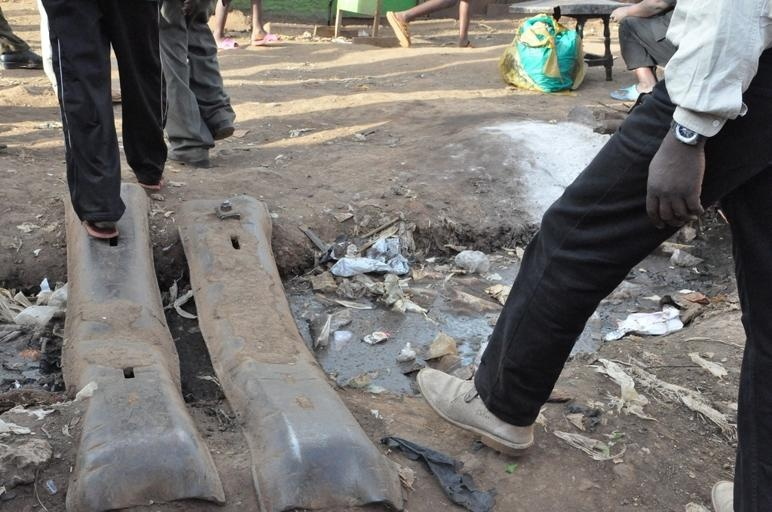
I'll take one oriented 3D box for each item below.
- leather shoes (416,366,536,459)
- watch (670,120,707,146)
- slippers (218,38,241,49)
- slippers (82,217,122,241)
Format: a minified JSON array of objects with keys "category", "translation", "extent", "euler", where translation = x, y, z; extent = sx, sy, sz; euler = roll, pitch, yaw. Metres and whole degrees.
[{"category":"leather shoes","translation":[0.340,0.624,2.343],"extent":[0.545,0.234,0.204],"euler":[33,11,31]},{"category":"watch","translation":[0.900,-0.362,1.695],"extent":[0.070,0.084,0.027],"euler":[-31,17,46]},{"category":"slippers","translation":[-2.439,-3.302,8.812],"extent":[0.263,0.156,0.465],"euler":[-24,29,-37]},{"category":"slippers","translation":[-1.373,-0.130,2.747],"extent":[0.163,0.046,0.087],"euler":[7,32,1]}]
